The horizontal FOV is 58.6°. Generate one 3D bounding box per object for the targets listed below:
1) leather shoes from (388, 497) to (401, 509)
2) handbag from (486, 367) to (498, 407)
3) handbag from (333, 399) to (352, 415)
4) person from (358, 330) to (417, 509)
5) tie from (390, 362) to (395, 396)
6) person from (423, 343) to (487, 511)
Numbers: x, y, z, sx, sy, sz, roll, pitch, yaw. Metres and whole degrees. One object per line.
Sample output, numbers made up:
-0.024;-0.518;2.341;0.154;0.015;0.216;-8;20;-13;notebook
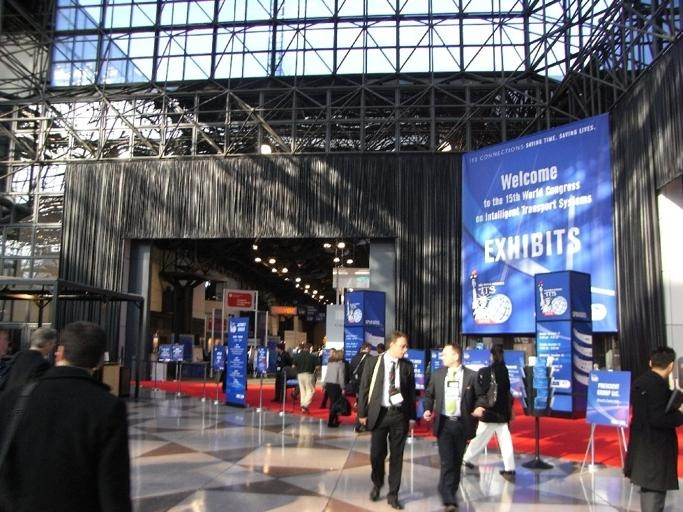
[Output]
0.610;2.815;6.924;0.184;0.123;0.133;0;-11;10;leather shoes
2.093;1.835;8.421;0.134;0.531;0.434;-1;-11;15;handbag
0.014;2.955;11.948;0.337;0.353;0.360;2;-11;-2;handbag
0.531;1.907;7.167;0.683;1.993;0.388;1;-10;6;person
0.599;1.450;7.077;0.078;0.351;0.051;2;-10;-1;tie
1.290;1.959;7.044;0.656;1.852;0.509;0;-10;8;person
